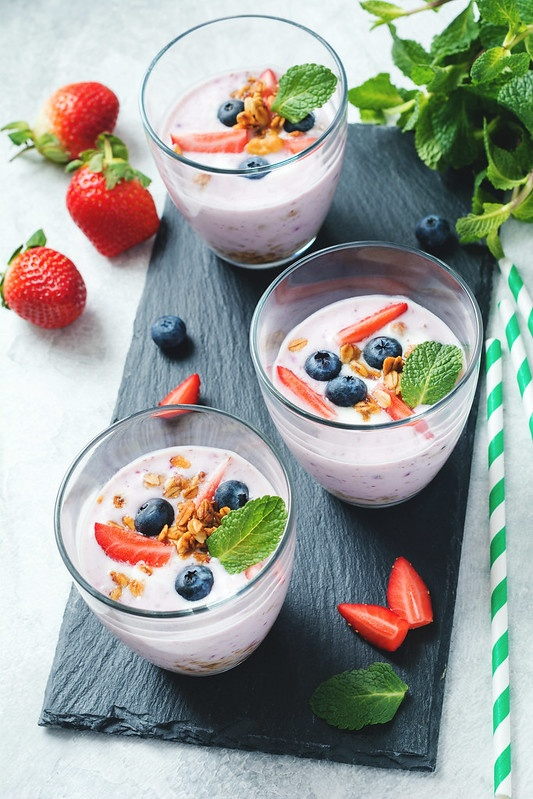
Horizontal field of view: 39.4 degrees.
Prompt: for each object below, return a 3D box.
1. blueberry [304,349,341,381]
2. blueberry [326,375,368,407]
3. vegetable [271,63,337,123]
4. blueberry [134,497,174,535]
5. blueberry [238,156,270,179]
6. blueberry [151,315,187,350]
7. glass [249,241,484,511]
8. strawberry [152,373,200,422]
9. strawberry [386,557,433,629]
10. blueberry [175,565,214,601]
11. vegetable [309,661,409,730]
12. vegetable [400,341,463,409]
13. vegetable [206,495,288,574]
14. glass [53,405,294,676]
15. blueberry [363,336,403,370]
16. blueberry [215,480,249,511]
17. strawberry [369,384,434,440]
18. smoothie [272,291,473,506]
[{"bbox_3d":[0.102,-0.057,1.389,0.061,0.023,0.056,8,77,8],"label":"blueberry"},{"bbox_3d":[0.145,-0.014,1.335,0.061,0.036,0.057,0,62,4],"label":"blueberry"},{"bbox_3d":[0.080,-0.674,1.645,0.160,0.119,0.076,28,59,22],"label":"vegetable"},{"bbox_3d":[-0.184,0.195,1.231,0.053,0.034,0.062,10,59,37],"label":"blueberry"},{"bbox_3d":[-0.031,-0.513,1.642,0.071,0.037,0.066,-4,58,2],"label":"blueberry"},{"bbox_3d":[-0.241,-0.159,1.800,0.085,0.044,0.079,6,74,4],"label":"blueberry"},{"bbox_3d":[0.206,-0.028,1.463,0.429,0.359,0.443,-1,52,10],"label":"glass"},{"bbox_3d":[-0.195,0.007,1.661,0.113,0.077,0.045,-60,26,3],"label":"strawberry"},{"bbox_3d":[0.270,0.372,1.410,0.071,0.032,0.105,4,59,-25],"label":"strawberry"},{"bbox_3d":[-0.107,0.279,1.135,0.052,0.029,0.049,-8,57,13],"label":"blueberry"},{"bbox_3d":[0.163,0.522,1.298,0.167,0.023,0.096,-12,52,-7],"label":"vegetable"},{"bbox_3d":[0.292,-0.044,1.311,0.095,0.085,0.112,17,54,15],"label":"vegetable"},{"bbox_3d":[-0.033,0.211,1.131,0.080,0.146,0.019,53,27,7],"label":"vegetable"},{"bbox_3d":[-0.126,0.229,1.367,0.451,0.397,0.467,-11,56,9],"label":"glass"},{"bbox_3d":[0.215,-0.089,1.390,0.064,0.034,0.061,-11,68,7],"label":"blueberry"},{"bbox_3d":[-0.051,0.160,1.256,0.050,0.056,0.048,7,41,5],"label":"blueberry"},{"bbox_3d":[0.229,0.018,1.391,0.066,0.054,0.294,-13,6,16],"label":"strawberry"},{"bbox_3d":[0.206,0.069,1.390,0.274,0.228,0.291,-1,29,9],"label":"smoothie"}]
